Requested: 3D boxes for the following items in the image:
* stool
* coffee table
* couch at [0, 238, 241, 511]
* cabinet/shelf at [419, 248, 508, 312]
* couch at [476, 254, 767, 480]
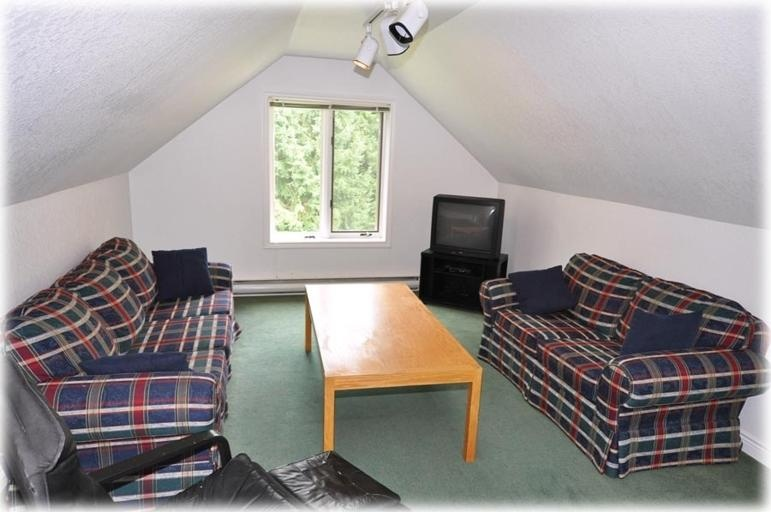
[{"bbox_3d":[-0.251,1.198,2.677,0.294,0.088,0.377,4,8,-36],"label":"stool"},{"bbox_3d":[-0.088,0.784,4.231,1.172,0.586,1.980,0,14,-16],"label":"coffee table"},{"bbox_3d":[-1.604,0.703,3.047,0.622,0.572,1.577,-10,26,-18],"label":"couch"},{"bbox_3d":[0.835,0.243,5.861,0.863,0.523,0.450,6,14,8],"label":"cabinet/shelf"},{"bbox_3d":[1.671,0.626,3.779,1.332,1.141,2.218,-3,12,-14],"label":"couch"}]
